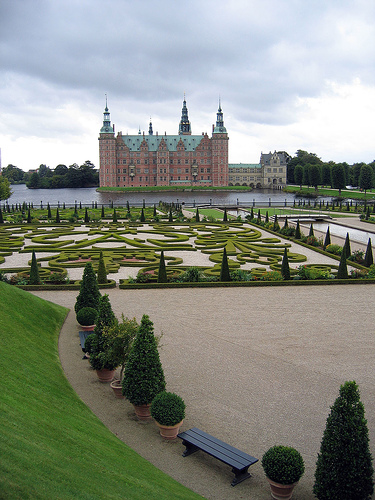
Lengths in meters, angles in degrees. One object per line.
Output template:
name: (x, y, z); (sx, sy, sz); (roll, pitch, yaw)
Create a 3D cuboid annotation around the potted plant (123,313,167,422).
potted plant: (-0.710, 1.925, 7.938); (0.721, 1.735, 0.653); (0, 9, -5)

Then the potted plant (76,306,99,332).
potted plant: (-2.409, 1.685, 12.455); (0.734, 0.764, 0.722); (0, 3, -7)

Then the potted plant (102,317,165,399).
potted plant: (-0.764, 1.978, 8.132); (0.666, 1.586, 0.711); (2, -9, 34)

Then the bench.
bench: (0.416, 2.829, 6.665); (0.470, 0.344, 1.220); (-8, 12, -41)

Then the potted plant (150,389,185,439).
potted plant: (-0.303, 2.568, 7.418); (0.404, 0.626, 0.460); (-6, 11, -33)
